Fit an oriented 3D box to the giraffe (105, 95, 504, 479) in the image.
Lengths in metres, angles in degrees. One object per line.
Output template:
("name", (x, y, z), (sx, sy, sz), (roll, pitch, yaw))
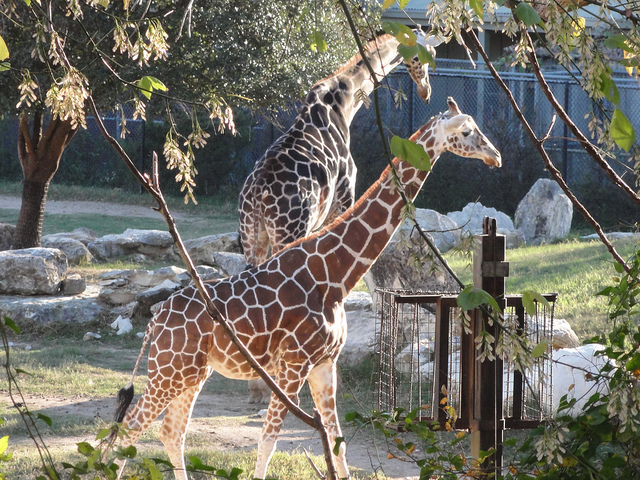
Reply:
("giraffe", (-0.328, 0.597, 16.163), (3.794, 4.451, 4.571), (0, 1, 7))
